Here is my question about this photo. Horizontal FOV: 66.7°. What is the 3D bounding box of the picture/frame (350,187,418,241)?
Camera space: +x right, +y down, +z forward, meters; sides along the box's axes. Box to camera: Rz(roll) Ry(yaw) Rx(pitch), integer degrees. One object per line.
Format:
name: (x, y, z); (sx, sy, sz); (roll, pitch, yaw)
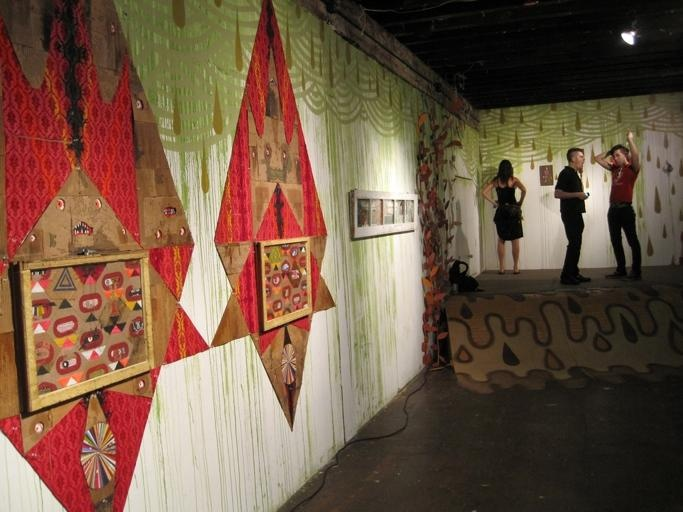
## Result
picture/frame: (0.412, -0.358, 4.559); (0.032, 0.303, 0.725); (-1, 4, -41)

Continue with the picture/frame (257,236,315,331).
picture/frame: (-0.329, 0.145, 3.074); (0.049, 0.493, 0.394); (4, 10, 42)

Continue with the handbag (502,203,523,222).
handbag: (2.829, -0.728, 8.509); (0.241, 0.282, 0.237); (-2, 5, -6)

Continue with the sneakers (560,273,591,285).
sneakers: (3.375, 0.306, 7.443); (0.485, 0.131, 0.228); (-5, 6, -18)

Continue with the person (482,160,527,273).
person: (2.831, -0.687, 8.947); (0.651, 1.990, 1.369); (0, 5, 21)

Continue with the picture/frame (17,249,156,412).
picture/frame: (-0.998, 0.280, 1.990); (0.052, 0.644, 0.526); (0, 4, 29)
